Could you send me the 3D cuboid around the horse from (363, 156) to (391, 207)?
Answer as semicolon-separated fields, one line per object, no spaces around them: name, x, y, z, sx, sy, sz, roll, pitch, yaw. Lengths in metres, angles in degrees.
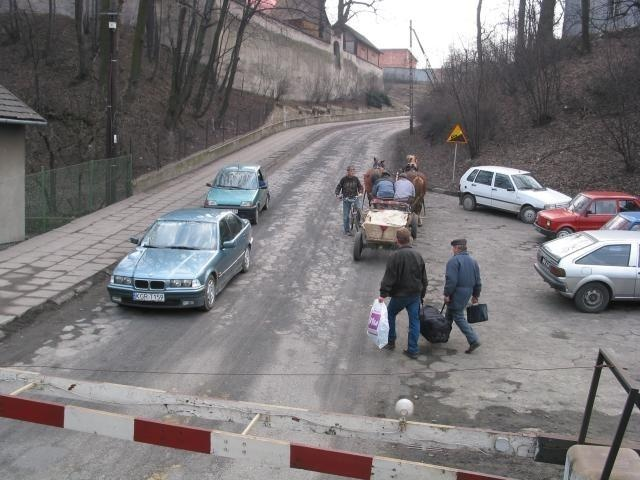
horse;1.767;-1.834;20.501;0.557;1.436;2.171;10;1;-2

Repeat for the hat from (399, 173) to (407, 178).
hat;2.477;-1.962;18.341;0.131;0.149;0.178;12;10;5

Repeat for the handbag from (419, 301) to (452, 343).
handbag;2.207;1.567;11.783;0.523;0.807;0.796;-1;15;-15

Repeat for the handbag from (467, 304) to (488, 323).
handbag;2.964;1.384;11.546;0.369;0.513;0.292;3;17;29

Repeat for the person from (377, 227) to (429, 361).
person;1.574;0.980;11.388;0.811;2.342;0.852;-1;14;10

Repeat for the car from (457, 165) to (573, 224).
car;7.434;-1.638;23.480;1.973;1.650;3.830;-10;18;-39

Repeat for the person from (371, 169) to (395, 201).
person;1.946;-1.640;18.208;0.355;0.794;1.285;6;18;9

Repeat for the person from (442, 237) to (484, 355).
person;2.685;1.057;11.510;0.636;2.127;0.612;0;14;16

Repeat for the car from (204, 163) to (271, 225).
car;-2.732;-1.631;20.956;1.552;1.225;2.496;3;13;7
